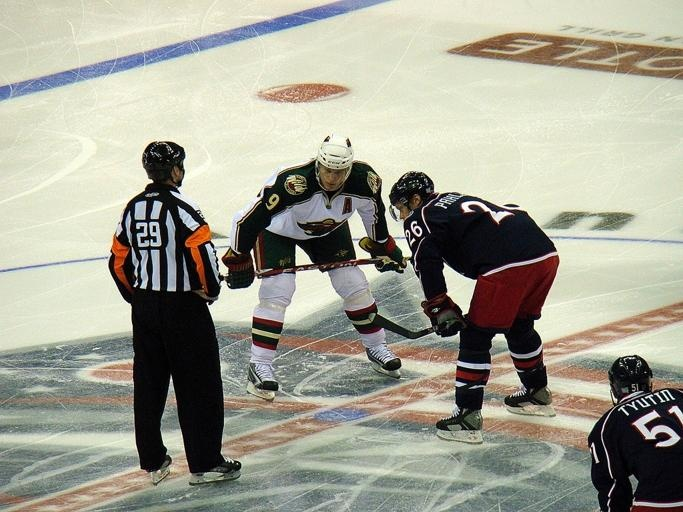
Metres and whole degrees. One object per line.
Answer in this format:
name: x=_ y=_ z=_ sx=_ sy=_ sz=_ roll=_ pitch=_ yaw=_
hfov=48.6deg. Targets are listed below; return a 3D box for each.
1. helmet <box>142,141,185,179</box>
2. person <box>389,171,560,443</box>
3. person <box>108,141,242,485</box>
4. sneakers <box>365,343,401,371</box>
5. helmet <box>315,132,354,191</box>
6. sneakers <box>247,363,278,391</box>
helmet: x=-0.983 y=-0.525 z=4.229 sx=0.202 sy=0.214 sz=0.158 roll=-3 pitch=8 yaw=0
person: x=0.850 y=0.275 z=4.733 sx=0.860 sy=1.618 sz=0.661 roll=-7 pitch=9 yaw=-19
person: x=-0.958 y=0.322 z=4.262 sx=0.599 sy=1.915 sz=0.422 roll=-6 pitch=9 yaw=-8
sneakers: x=0.296 y=0.721 z=5.372 sx=0.126 sy=0.107 sz=0.312 roll=-32 pitch=18 yaw=-18
helmet: x=-0.048 y=-0.602 z=4.984 sx=0.241 sy=0.375 sz=0.281 roll=-4 pitch=8 yaw=-1
sneakers: x=-0.532 y=0.821 z=5.140 sx=0.180 sy=0.168 sz=0.236 roll=-4 pitch=7 yaw=-9
